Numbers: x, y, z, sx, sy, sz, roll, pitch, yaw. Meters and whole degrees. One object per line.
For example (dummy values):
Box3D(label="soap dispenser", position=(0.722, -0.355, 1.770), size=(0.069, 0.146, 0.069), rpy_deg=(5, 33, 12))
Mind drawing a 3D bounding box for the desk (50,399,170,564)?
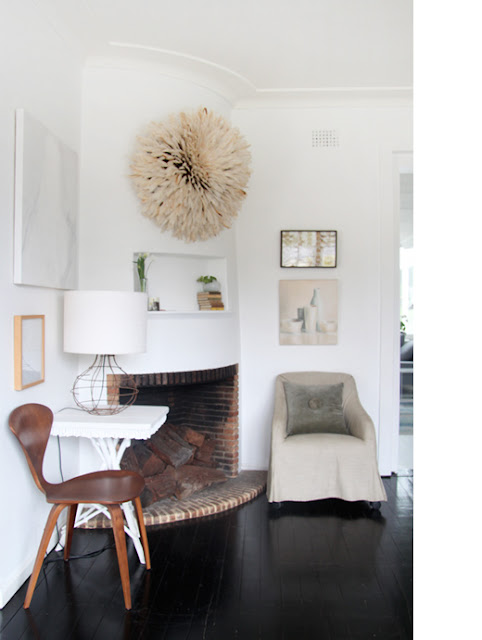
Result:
Box3D(label="desk", position=(-0.604, 0.779, 2.716), size=(0.543, 0.887, 0.612), rpy_deg=(0, 6, 0))

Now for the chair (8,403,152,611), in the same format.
Box3D(label="chair", position=(-0.664, 0.764, 2.491), size=(0.619, 1.093, 0.637), rpy_deg=(1, 4, 3))

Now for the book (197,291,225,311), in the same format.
Box3D(label="book", position=(-0.217, -0.132, 3.671), size=(0.199, 0.093, 0.165), rpy_deg=(1, 1, -6))

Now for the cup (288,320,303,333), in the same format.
Box3D(label="cup", position=(0.412, 0.055, 3.869), size=(0.071, 0.079, 0.104), rpy_deg=(0, -4, -2))

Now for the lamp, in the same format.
Box3D(label="lamp", position=(-0.759, 0.196, 2.849), size=(0.389, 0.685, 0.832), rpy_deg=(1, 1, -17))

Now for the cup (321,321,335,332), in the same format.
Box3D(label="cup", position=(0.656, 0.040, 3.905), size=(0.080, 0.068, 0.080), rpy_deg=(0, 8, 0))

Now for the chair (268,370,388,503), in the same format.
Box3D(label="chair", position=(0.519, 0.815, 3.594), size=(0.651, 0.932, 0.992), rpy_deg=(0, -10, -4))
